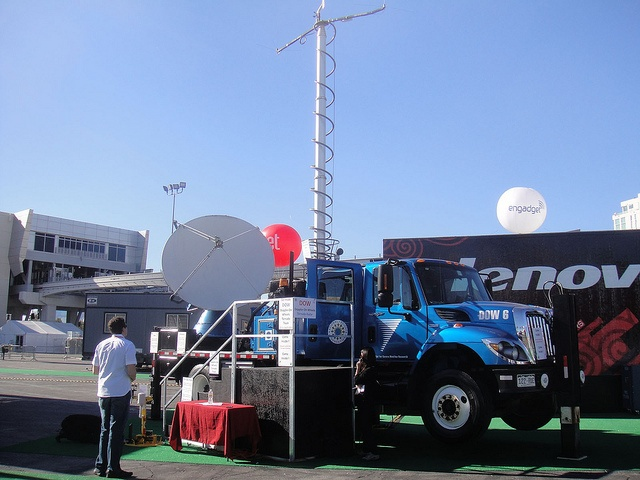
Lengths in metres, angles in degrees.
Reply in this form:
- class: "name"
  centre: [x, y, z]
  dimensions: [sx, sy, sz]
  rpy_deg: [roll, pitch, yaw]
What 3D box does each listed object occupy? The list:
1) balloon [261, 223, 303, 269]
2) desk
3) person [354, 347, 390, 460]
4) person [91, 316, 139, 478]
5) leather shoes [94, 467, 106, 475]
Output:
- class: "balloon"
  centre: [-1.536, 0.358, 22.204]
  dimensions: [1.480, 1.981, 1.580]
  rpy_deg: [-7, -9, 31]
- class: "desk"
  centre: [-1.986, 3.622, 10.284]
  dimensions: [1.735, 0.983, 0.751]
  rpy_deg: [-9, -16, 36]
- class: "person"
  centre: [0.861, 3.057, 10.183]
  dimensions: [0.456, 2.036, 0.426]
  rpy_deg: [0, -12, 3]
- class: "person"
  centre: [-3.339, 2.548, 8.789]
  dimensions: [0.725, 2.539, 0.364]
  rpy_deg: [-1, -13, 9]
- class: "leather shoes"
  centre: [-3.557, 3.742, 8.761]
  dimensions: [0.242, 0.119, 0.085]
  rpy_deg: [-5, -11, 35]
